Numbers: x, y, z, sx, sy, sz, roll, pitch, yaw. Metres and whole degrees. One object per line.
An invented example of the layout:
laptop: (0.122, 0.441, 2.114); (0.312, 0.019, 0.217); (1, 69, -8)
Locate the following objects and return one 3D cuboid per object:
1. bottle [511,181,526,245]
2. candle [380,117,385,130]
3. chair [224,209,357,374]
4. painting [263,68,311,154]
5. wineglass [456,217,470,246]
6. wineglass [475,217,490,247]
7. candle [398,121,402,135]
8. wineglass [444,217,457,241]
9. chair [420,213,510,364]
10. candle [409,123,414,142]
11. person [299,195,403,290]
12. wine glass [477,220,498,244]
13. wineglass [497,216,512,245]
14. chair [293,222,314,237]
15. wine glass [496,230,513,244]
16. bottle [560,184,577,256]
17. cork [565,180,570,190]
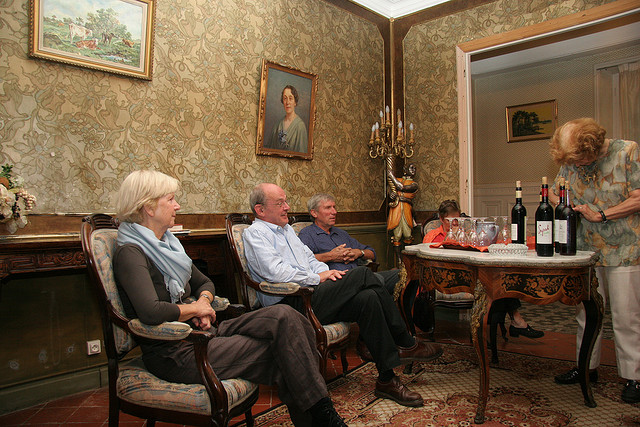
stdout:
bottle: (1.655, -0.010, 3.377); (0.113, 0.519, 0.415); (1, 4, 27)
candle: (0.821, -1.206, 5.399); (0.057, 0.162, 0.135); (0, 4, 9)
chair: (-0.404, 0.775, 3.729); (0.934, 1.384, 0.852); (-1, -5, 4)
painting: (-0.429, -1.237, 4.806); (0.821, 1.122, 0.074); (1, -1, -43)
wineglass: (1.248, 0.191, 3.548); (0.117, 0.137, 0.062); (1, 5, 26)
wineglass: (1.400, 0.151, 3.497); (0.114, 0.241, 0.171); (1, 4, 23)
candle: (1.029, -1.111, 5.258); (0.032, 0.141, 0.090); (-1, 4, 5)
wineglass: (1.202, 0.139, 3.716); (0.090, 0.188, 0.240); (0, 4, 17)
chair: (1.503, 0.741, 4.568); (0.747, 1.317, 0.760); (0, 4, 15)
candle: (1.248, -1.103, 5.539); (0.057, 0.247, 0.269); (0, 4, 15)
person: (0.302, 0.272, 4.062); (0.726, 0.948, 1.221); (0, -2, -44)
wine glass: (1.429, 0.142, 3.464); (0.161, 0.190, 0.078); (0, 4, 17)
wineglass: (1.519, 0.130, 3.335); (0.110, 0.209, 0.223); (1, 4, 25)
chair: (-0.187, 0.157, 4.332); (0.131, 0.189, 0.147); (-10, -14, 43)
wine glass: (1.507, 0.182, 3.322); (0.097, 0.103, 0.071); (0, 4, 18)
bottle: (1.968, 0.058, 3.213); (0.113, 0.510, 0.262); (2, 5, 31)
cork: (2.180, -0.255, 3.572); (0.028, 0.109, 0.075); (-10, -1, 25)
